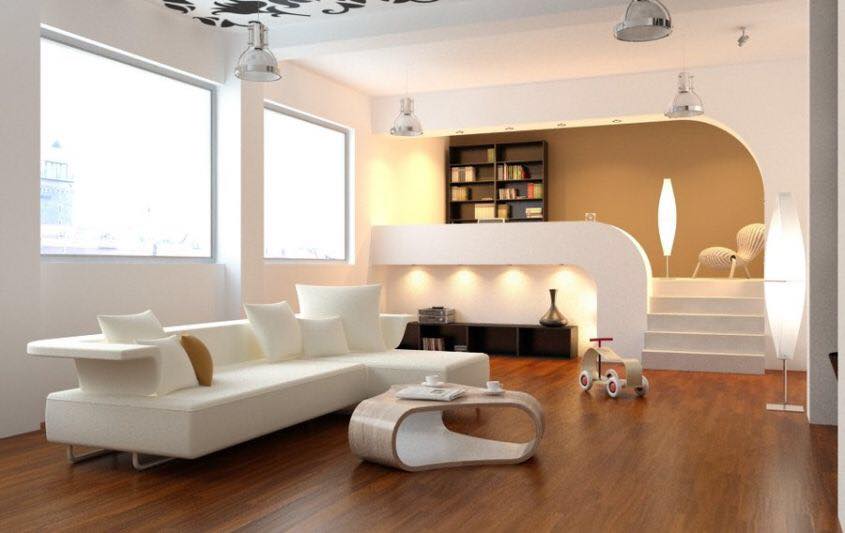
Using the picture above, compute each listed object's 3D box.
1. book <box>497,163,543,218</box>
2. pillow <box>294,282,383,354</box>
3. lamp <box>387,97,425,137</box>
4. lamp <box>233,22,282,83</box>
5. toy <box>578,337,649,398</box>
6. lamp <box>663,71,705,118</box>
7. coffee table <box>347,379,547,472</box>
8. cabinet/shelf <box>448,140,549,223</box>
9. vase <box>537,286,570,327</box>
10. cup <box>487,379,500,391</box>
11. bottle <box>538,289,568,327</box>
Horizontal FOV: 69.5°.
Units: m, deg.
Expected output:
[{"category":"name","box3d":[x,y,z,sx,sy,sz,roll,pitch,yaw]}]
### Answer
[{"category":"book","box3d":[1.865,-1.453,11.662,0.905,1.067,0.581,1,7,6]},{"category":"pillow","box3d":[-0.924,0.581,6.658,0.695,0.559,0.262,-4,-14,3]},{"category":"lamp","box3d":[-0.205,-2.119,8.534,0.420,0.435,0.425,11,17,33]},{"category":"lamp","box3d":[-1.608,-2.126,5.919,0.372,0.577,0.326,4,8,30]},{"category":"toy","box3d":[2.282,1.168,7.257,0.617,0.612,0.856,0,1,-39]},{"category":"lamp","box3d":[3.296,-2.180,7.702,0.368,0.592,0.611,2,7,14]},{"category":"coffee table","box3d":[0.051,1.398,5.012,1.004,0.347,0.906,0,0,13]},{"category":"cabinet/shelf","box3d":[1.548,-1.658,11.842,1.997,1.825,0.479,-1,-4,19]},{"category":"vase","box3d":[1.900,0.637,9.402,0.545,0.589,0.552,-5,-5,45]},{"category":"cup","box3d":[0.596,1.007,5.196,0.101,0.083,0.120,-2,-9,8]},{"category":"bottle","box3d":[2.036,0.613,9.385,0.404,0.563,0.406,0,7,0]}]
